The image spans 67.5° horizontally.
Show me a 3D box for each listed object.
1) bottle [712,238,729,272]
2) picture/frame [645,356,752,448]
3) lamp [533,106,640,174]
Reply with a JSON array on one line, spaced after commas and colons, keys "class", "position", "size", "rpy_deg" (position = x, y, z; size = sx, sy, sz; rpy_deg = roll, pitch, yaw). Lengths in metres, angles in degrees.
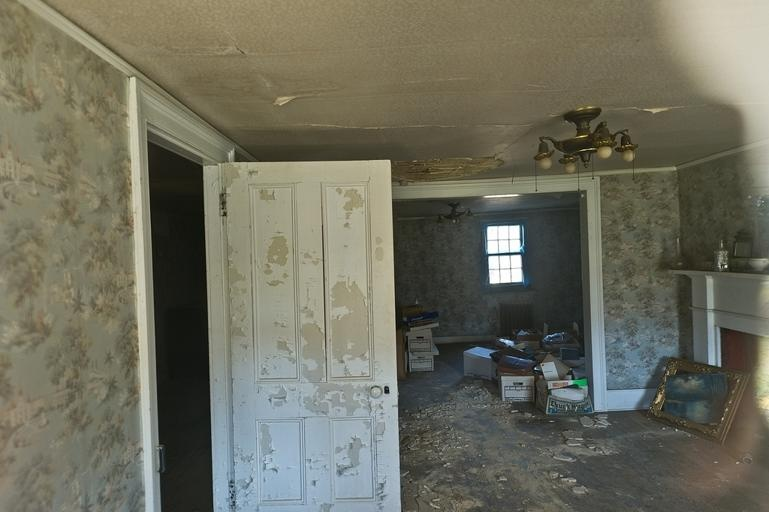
[{"class": "bottle", "position": [3.241, -0.005, 5.547], "size": [0.119, 0.279, 0.363], "rpy_deg": [1, 9, 28]}, {"class": "picture/frame", "position": [3.084, 1.439, 5.601], "size": [0.095, 0.730, 0.788], "rpy_deg": [21, 3, -27]}, {"class": "lamp", "position": [1.485, -0.812, 4.304], "size": [0.559, 0.322, 0.567], "rpy_deg": [0, 4, 26]}]
